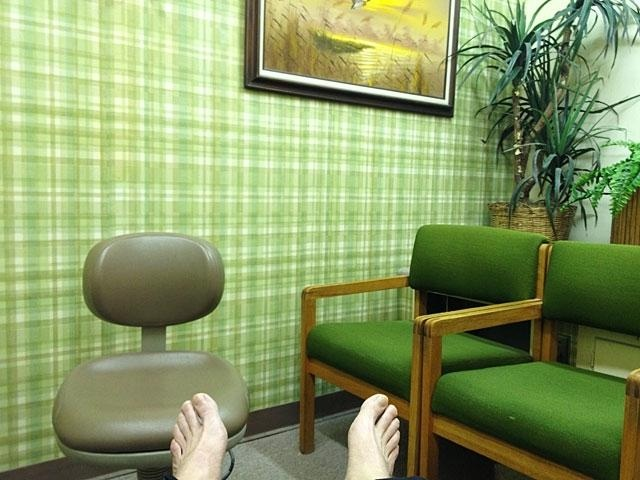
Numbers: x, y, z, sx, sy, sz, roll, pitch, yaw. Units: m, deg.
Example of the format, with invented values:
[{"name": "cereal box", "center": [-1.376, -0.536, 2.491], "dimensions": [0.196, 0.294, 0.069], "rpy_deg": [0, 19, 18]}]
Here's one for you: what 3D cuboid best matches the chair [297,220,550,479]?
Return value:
[{"name": "chair", "center": [0.342, 0.327, 2.609], "dimensions": [1.026, 1.500, 1.146], "rpy_deg": [-1, 3, -32]}]
